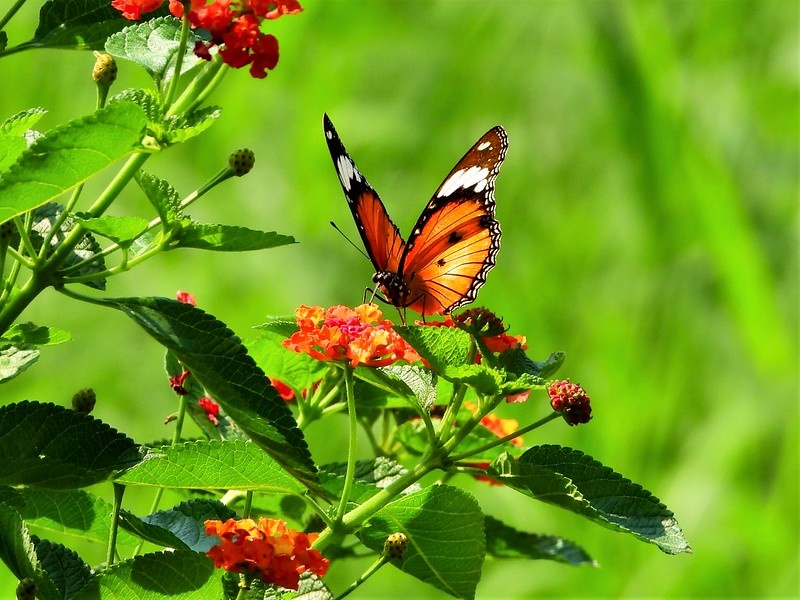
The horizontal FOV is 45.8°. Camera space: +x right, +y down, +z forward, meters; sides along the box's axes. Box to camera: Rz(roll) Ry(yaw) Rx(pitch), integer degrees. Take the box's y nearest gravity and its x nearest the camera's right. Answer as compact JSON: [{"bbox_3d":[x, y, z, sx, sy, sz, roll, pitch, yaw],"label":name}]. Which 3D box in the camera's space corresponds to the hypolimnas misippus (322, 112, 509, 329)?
[{"bbox_3d":[0.049,-0.185,2.468,0.419,0.510,0.518,4,0,-17],"label":"hypolimnas misippus"}]

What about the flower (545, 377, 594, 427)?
[{"bbox_3d":[0.347,0.223,1.932,0.093,0.044,0.078,14,2,39],"label":"flower"}]

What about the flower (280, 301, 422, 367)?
[{"bbox_3d":[-0.099,0.030,1.871,0.164,0.067,0.168,26,18,35],"label":"flower"}]
